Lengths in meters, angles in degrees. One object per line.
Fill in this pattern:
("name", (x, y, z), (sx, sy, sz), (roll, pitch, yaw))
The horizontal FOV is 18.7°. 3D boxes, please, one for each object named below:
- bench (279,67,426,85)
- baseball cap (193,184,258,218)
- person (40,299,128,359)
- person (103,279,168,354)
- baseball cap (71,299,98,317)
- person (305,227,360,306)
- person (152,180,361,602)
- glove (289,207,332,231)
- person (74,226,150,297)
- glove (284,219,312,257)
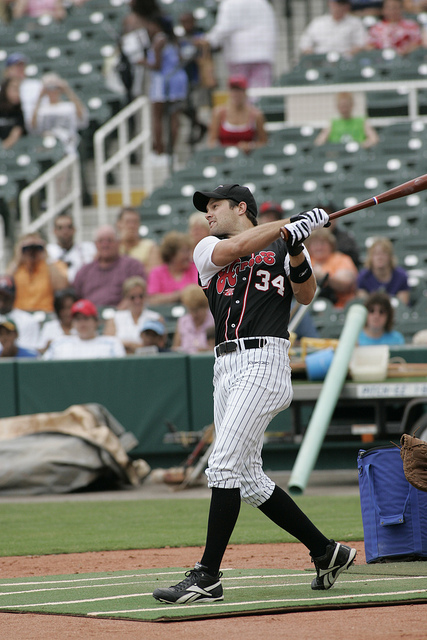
("bench", (1.315, -2.318, 12.347), (0.227, 0.050, 1.507), (-3, 3, -39))
("baseball cap", (0.046, -0.621, 6.611), (0.266, 0.123, 0.154), (16, -5, -6))
("person", (-1.079, 0.093, 10.665), (0.795, 0.513, 0.360), (2, -4, 4))
("person", (-0.656, 0.044, 10.822), (0.536, 0.690, 0.383), (-4, -7, -4))
("baseball cap", (-1.044, -0.088, 10.396), (0.201, 0.123, 0.225), (-1, 10, -7))
("person", (1.049, -0.533, 11.811), (0.649, 0.754, 0.306), (-1, -14, -2))
("person", (0.230, 0.393, 6.311), (0.813, 1.803, 0.794), (1, 11, 5))
("glove", (0.476, -0.515, 6.426), (0.158, 0.052, 0.156), (-9, 15, -21))
("person", (-0.879, -0.450, 10.869), (0.802, 0.624, 0.431), (0, 7, 13))
("glove", (0.389, -0.391, 6.294), (0.131, 0.175, 0.190), (0, 10, 3))
